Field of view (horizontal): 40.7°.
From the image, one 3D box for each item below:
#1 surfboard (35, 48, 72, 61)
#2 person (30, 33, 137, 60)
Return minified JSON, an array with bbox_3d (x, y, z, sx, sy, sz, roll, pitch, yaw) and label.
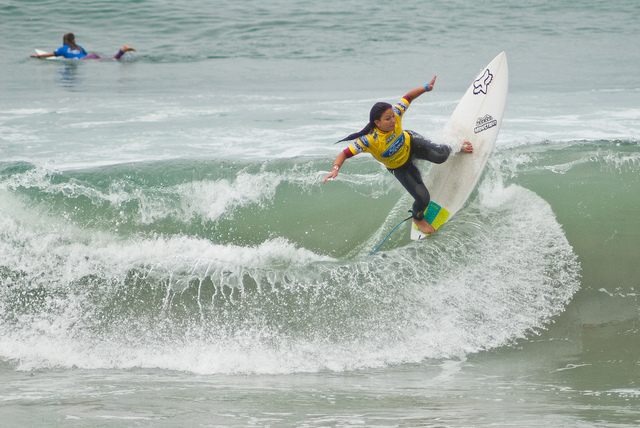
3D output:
[{"bbox_3d":[-8.330,-4.918,26.721,1.516,0.147,0.455,24,33,33],"label":"surfboard"},{"bbox_3d":[-7.016,-5.044,26.916,2.685,0.755,1.191,-1,7,6],"label":"person"}]
